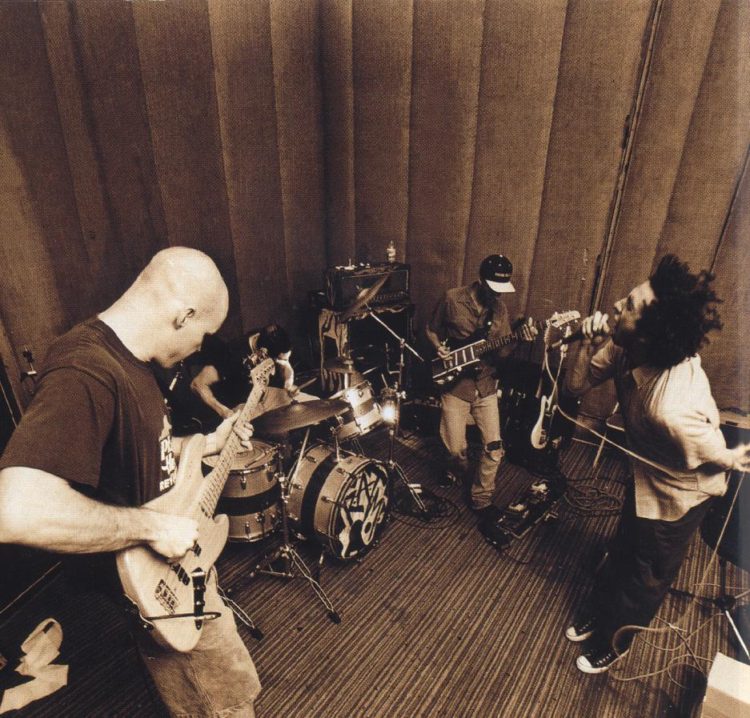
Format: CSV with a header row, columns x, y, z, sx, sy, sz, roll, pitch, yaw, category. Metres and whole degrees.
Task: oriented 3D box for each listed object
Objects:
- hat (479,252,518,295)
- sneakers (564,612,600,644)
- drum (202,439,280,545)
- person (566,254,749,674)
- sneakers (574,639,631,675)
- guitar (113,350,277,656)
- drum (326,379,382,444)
x,y,z,sx,sy,sz,roll,pitch,yaw,category
0.860,-0.578,4.643,0.214,0.210,0.323,2,33,-30,hat
1.191,1.542,3.726,0.221,0.090,0.080,0,6,-40,sneakers
-0.745,0.882,3.981,0.483,0.568,0.506,-6,26,-8,drum
1.449,0.573,3.456,0.683,2.001,1.098,3,32,7,person
1.279,1.628,3.620,0.331,0.147,0.131,-8,24,-13,sneakers
-0.864,0.745,3.199,0.204,0.578,1.516,-14,30,17,guitar
-0.095,0.341,4.213,0.309,0.353,0.333,-26,3,44,drum
